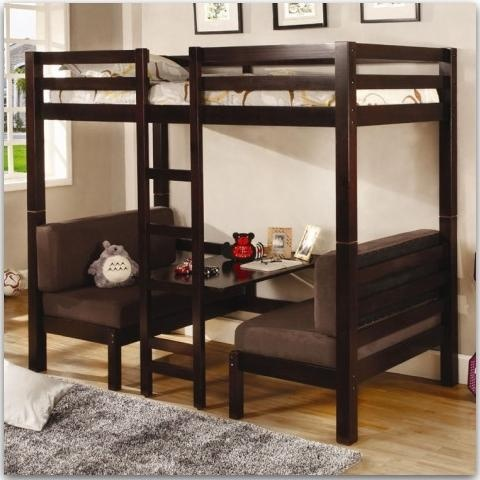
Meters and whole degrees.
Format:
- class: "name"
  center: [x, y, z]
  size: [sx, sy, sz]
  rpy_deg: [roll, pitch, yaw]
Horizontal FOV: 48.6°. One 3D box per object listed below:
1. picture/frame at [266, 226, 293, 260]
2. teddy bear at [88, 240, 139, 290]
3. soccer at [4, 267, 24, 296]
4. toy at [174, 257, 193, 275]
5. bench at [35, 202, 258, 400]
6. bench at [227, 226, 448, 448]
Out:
- class: "picture/frame"
  center: [0.245, 0.013, 3.427]
  size: [0.184, 0.183, 0.044]
  rpy_deg: [3, -5, 34]
- class: "teddy bear"
  center: [-0.802, 0.163, 3.351]
  size: [0.312, 0.320, 0.185]
  rpy_deg: [2, -13, -30]
- class: "soccer"
  center: [-2.039, 0.368, 4.748]
  size: [0.200, 0.239, 0.198]
  rpy_deg: [10, 7, 40]
- class: "toy"
  center: [-0.313, 0.152, 3.079]
  size: [0.075, 0.046, 0.128]
  rpy_deg: [4, 10, 21]
- class: "bench"
  center: [-0.644, 0.263, 3.551]
  size: [0.704, 0.863, 1.312]
  rpy_deg: [4, 7, 28]
- class: "bench"
  center: [0.569, 0.431, 2.885]
  size: [0.728, 0.847, 1.268]
  rpy_deg: [-2, 1, 39]
